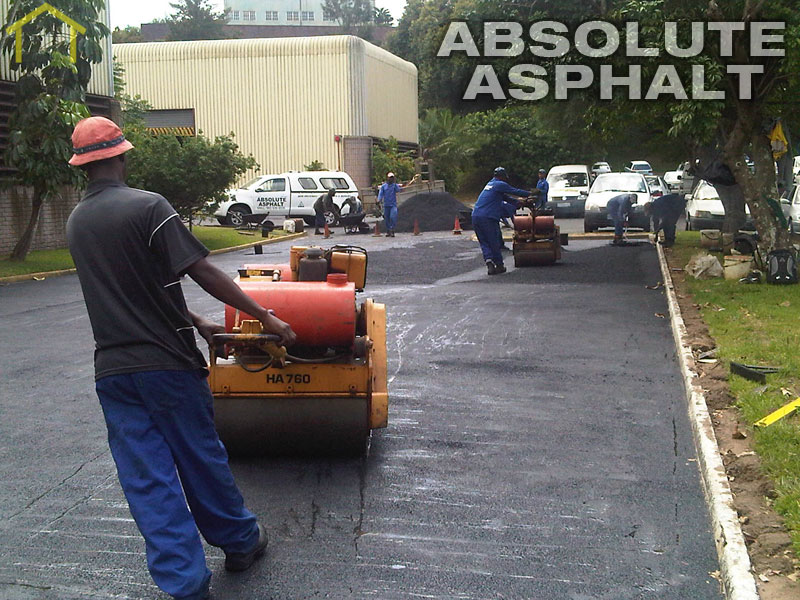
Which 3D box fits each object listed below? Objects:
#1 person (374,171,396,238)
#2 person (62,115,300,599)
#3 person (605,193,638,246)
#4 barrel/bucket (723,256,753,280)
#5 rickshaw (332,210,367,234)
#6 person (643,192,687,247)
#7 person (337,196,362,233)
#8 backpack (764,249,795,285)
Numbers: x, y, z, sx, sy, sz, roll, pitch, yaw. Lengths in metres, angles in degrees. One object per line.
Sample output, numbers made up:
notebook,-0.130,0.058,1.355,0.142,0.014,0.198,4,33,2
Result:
person,-0.379,-3.227,26.833,0.631,2.092,1.375,-1,9,-1
person,-1.298,0.329,4.349,1.025,2.639,0.786,-2,9,-8
person,6.059,-2.209,21.502,0.713,1.660,0.630,3,37,19
barrel/bucket,6.005,-0.587,14.078,0.370,0.390,0.391,-1,3,0
rickshaw,-1.660,-2.813,28.795,0.688,0.750,2.171,3,11,21
person,6.805,-2.059,20.280,0.792,1.299,1.193,2,10,17
person,-1.729,-3.243,28.757,0.907,1.480,0.486,-3,-13,13
backpack,6.483,-0.569,13.302,0.548,0.556,0.375,-1,9,-3
